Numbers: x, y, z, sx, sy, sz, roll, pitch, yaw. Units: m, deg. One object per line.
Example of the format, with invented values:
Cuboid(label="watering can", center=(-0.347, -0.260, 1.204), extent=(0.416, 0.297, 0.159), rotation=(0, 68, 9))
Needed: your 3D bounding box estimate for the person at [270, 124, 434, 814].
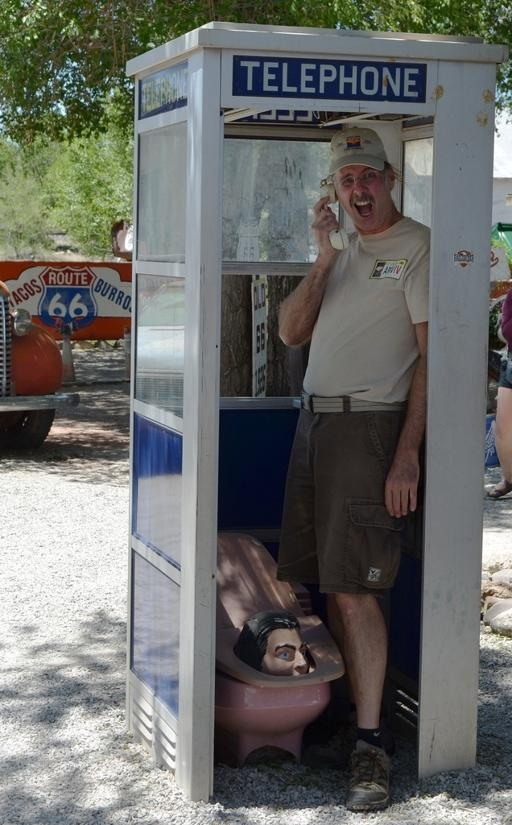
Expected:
Cuboid(label="person", center=(0.318, 0.094, 2.378), extent=(0.394, 2.001, 0.602), rotation=(0, 0, -9))

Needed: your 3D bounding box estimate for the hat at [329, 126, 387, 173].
Cuboid(label="hat", center=(0.313, -0.809, 2.387), extent=(0.130, 0.111, 0.210), rotation=(1, 3, 11))

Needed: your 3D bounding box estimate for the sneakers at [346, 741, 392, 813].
Cuboid(label="sneakers", center=(0.318, 1.025, 2.112), extent=(0.068, 0.095, 0.208), rotation=(-1, -7, 7))
